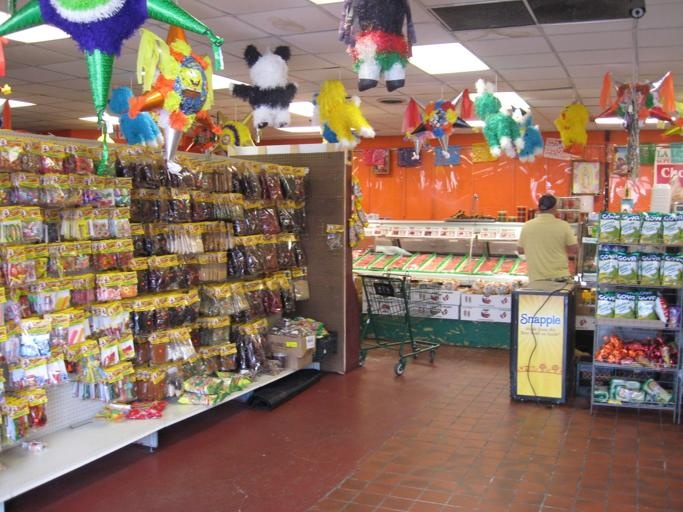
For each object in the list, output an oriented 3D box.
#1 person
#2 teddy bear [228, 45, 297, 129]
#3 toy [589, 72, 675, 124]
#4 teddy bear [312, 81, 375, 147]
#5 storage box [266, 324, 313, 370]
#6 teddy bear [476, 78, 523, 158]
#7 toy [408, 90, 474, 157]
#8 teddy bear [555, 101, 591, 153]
[{"bbox_3d":[2.181,-0.085,5.576,0.579,0.738,0.281,2,9,15],"label":"person"},{"bbox_3d":[-0.842,-1.941,5.915,0.590,0.925,0.460,5,10,32],"label":"teddy bear"},{"bbox_3d":[3.192,-1.672,5.714,0.928,0.451,0.805,1,7,9],"label":"toy"},{"bbox_3d":[0.047,-1.595,5.853,0.403,0.768,0.974,-5,9,-26],"label":"teddy bear"},{"bbox_3d":[-0.545,0.962,5.742,0.517,0.324,0.468,6,6,26],"label":"storage box"},{"bbox_3d":[2.040,-1.842,6.917,0.603,1.016,0.607,1,9,13],"label":"teddy bear"},{"bbox_3d":[1.315,-1.824,7.159,0.625,0.737,0.821,-5,9,-29],"label":"toy"},{"bbox_3d":[2.929,-1.674,6.752,0.374,0.634,0.674,2,8,20],"label":"teddy bear"}]
